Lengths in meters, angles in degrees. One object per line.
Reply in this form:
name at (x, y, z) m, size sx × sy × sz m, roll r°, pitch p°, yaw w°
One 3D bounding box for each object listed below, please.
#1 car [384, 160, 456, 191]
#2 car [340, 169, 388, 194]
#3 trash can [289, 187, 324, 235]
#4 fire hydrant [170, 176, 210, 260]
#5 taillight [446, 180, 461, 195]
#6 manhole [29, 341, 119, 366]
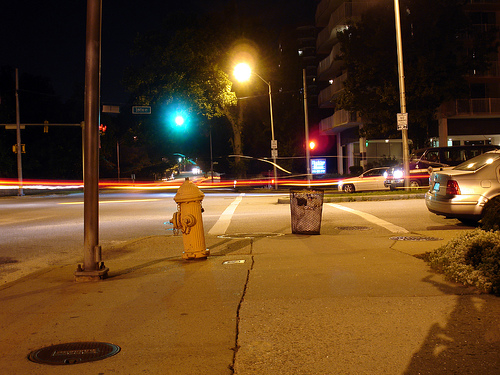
car at (9.992, -0.601, 25.415) m, size 3.519 × 1.728 × 2.054 m, roll 8°, pitch 6°, yaw 7°
car at (7.529, -0.432, 30.873) m, size 2.685 × 1.323 × 1.546 m, roll 2°, pitch -2°, yaw 8°
trash can at (1.767, 0.642, 12.309) m, size 1.078 × 1.358 × 1.102 m, roll 0°, pitch -2°, yaw -27°
fire hydrant at (-1.212, 0.652, 9.457) m, size 0.741 × 1.745 × 0.555 m, roll -2°, pitch 2°, yaw -8°
taillight at (5.105, 0.011, 11.699) m, size 0.100 × 0.369 × 0.407 m, roll -2°, pitch 2°, yaw -21°
manhole at (-2.052, 1.959, 5.485) m, size 1.010 × 0.074 × 0.567 m, roll -2°, pitch 2°, yaw -9°
